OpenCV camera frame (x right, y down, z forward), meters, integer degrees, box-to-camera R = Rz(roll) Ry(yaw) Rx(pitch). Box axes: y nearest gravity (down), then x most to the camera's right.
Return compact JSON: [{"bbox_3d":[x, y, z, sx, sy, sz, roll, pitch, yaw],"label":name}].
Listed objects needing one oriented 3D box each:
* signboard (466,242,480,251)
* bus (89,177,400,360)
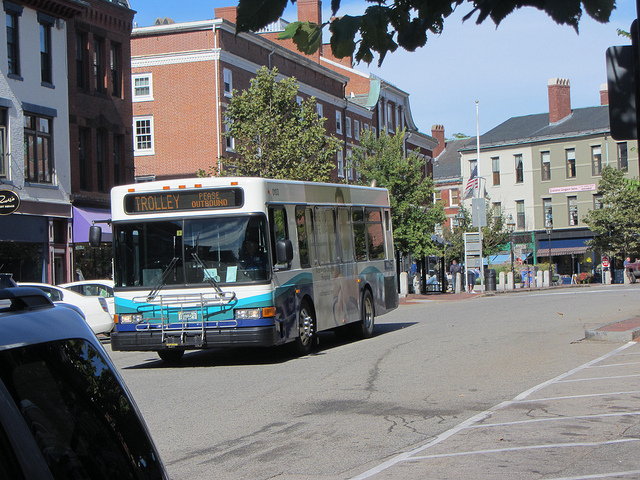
[{"bbox_3d":[9.570,0.398,45.966,0.738,0.537,0.824,5,0,11],"label":"signboard"},{"bbox_3d":[-0.937,0.670,18.450,3.563,3.900,10.427,-4,-1,20],"label":"bus"}]
